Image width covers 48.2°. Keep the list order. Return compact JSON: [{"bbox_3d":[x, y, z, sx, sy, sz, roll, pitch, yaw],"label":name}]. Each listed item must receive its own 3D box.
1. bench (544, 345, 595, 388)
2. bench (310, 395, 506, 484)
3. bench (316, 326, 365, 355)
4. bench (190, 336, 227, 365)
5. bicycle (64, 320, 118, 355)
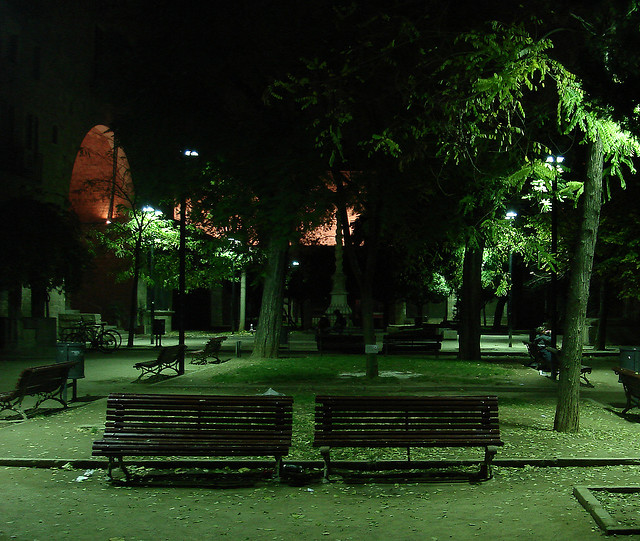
[{"bbox_3d":[5.734,2.180,16.620,0.818,0.766,2.038,-2,-3,6],"label":"bench"},{"bbox_3d":[1.163,2.159,9.564,2.544,0.873,0.784,0,11,1],"label":"bench"},{"bbox_3d":[0.868,2.732,29.768,1.899,1.093,2.588,1,-4,1],"label":"bench"},{"bbox_3d":[-4.233,2.942,27.355,0.913,0.839,1.494,1,-2,15],"label":"bench"},{"bbox_3d":[-10.060,2.753,31.452,1.195,1.312,2.584,1,-1,39],"label":"bicycle"}]
